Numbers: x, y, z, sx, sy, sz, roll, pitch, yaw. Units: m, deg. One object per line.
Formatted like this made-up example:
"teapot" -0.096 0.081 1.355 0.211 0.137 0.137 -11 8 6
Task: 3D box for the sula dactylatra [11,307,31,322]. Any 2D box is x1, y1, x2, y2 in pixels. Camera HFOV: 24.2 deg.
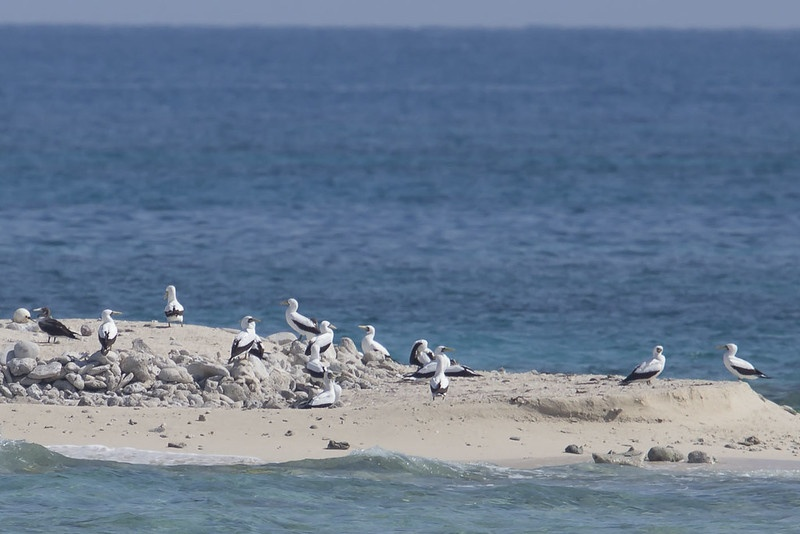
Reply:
"sula dactylatra" -23.543 3.093 117.435 1.189 0.861 0.701 -1 -7 13
